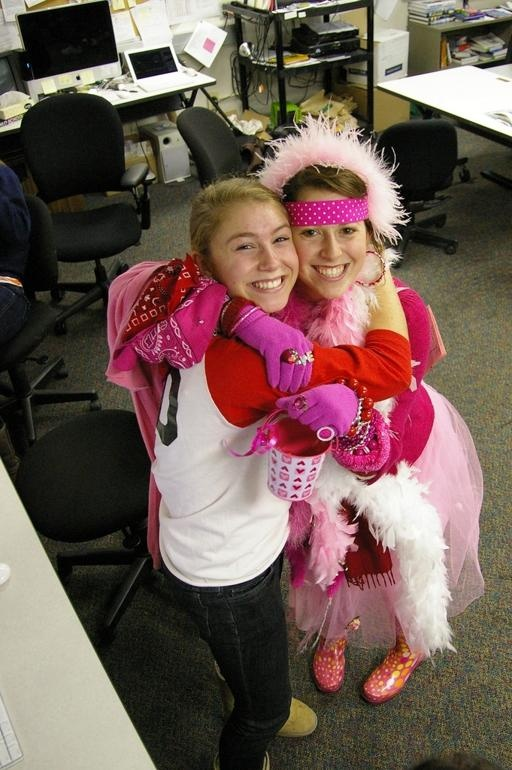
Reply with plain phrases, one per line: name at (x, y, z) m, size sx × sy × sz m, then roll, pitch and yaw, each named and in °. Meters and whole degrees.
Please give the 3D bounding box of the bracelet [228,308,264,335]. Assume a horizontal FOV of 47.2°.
bracelet at (-0.014, -0.088, 0.817) m, size 0.040 × 0.017 × 0.035 m, roll -52°, pitch 8°, yaw -8°

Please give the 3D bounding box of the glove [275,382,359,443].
glove at (0.085, 0.036, 0.793) m, size 0.068 × 0.040 × 0.089 m, roll 18°, pitch -9°, yaw -41°

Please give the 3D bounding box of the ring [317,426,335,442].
ring at (0.100, 0.067, 0.809) m, size 0.023 × 0.022 × 0.007 m, roll -18°, pitch 11°, yaw 3°

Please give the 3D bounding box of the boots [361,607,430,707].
boots at (0.370, 0.698, 1.582) m, size 0.245 × 0.150 × 0.090 m, roll -33°, pitch 36°, yaw -23°

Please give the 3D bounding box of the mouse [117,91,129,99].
mouse at (-0.890, -1.936, 3.898) m, size 0.078 × 0.057 × 0.108 m, roll -10°, pitch 36°, yaw -18°

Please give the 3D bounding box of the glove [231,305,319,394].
glove at (0.028, -0.047, 0.779) m, size 0.077 × 0.120 × 0.059 m, roll -49°, pitch -4°, yaw -12°

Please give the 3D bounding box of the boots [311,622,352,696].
boots at (0.207, 0.713, 1.553) m, size 0.064 × 0.078 × 0.189 m, roll 0°, pitch 41°, yaw 5°

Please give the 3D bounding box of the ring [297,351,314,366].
ring at (0.064, -0.035, 0.776) m, size 0.005 × 0.020 × 0.020 m, roll 5°, pitch 68°, yaw 46°

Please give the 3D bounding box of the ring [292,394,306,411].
ring at (0.058, 0.023, 0.771) m, size 0.014 × 0.019 × 0.006 m, roll 5°, pitch 9°, yaw 12°

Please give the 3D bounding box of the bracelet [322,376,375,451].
bracelet at (0.137, 0.047, 0.896) m, size 0.036 × 0.100 × 0.078 m, roll 19°, pitch 31°, yaw 39°

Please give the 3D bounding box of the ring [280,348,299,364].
ring at (0.044, -0.036, 0.767) m, size 0.027 × 0.021 × 0.014 m, roll -8°, pitch 33°, yaw 0°
